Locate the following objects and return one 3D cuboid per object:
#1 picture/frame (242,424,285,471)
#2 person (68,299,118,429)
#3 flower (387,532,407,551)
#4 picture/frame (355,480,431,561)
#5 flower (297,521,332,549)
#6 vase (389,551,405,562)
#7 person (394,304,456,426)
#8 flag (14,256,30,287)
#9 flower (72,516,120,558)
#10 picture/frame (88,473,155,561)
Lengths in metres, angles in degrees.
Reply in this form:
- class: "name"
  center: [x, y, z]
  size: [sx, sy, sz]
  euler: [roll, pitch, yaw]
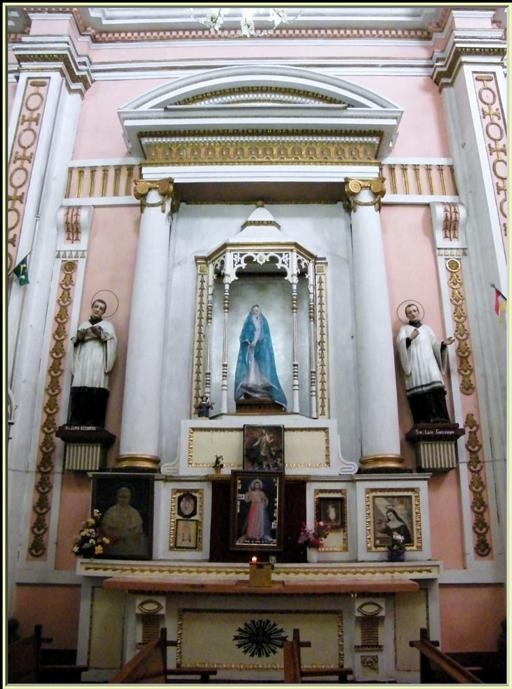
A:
- class: "picture/frame"
  center: [0.065, 0.829, 4.774]
  size: [0.373, 0.482, 0.033]
  euler: [-1, -36, -1]
- class: "person"
  center: [-1.496, 0.180, 5.488]
  size: [0.395, 1.231, 0.347]
  euler: [2, -18, -6]
- class: "flower"
  center: [1.036, 1.437, 4.451]
  size: [0.118, 0.124, 0.218]
  euler: [-1, 11, 6]
- class: "picture/frame"
  center: [1.045, 1.322, 4.559]
  size: [0.455, 0.555, 0.055]
  euler: [-2, 4, 8]
- class: "flower"
  center: [0.434, 1.408, 4.416]
  size: [0.192, 0.199, 0.199]
  euler: [2, -21, -6]
- class: "vase"
  center: [1.024, 1.532, 4.391]
  size: [0.088, 0.090, 0.086]
  euler: [-24, -41, 27]
- class: "person"
  center: [1.511, 0.171, 5.380]
  size: [0.469, 1.138, 0.337]
  euler: [-5, -19, 13]
- class: "flag"
  center: [-2.168, -0.686, 5.570]
  size: [0.107, 0.260, 0.212]
  euler: [-2, -19, 6]
- class: "flower"
  center: [-1.232, 1.440, 4.545]
  size: [0.225, 0.323, 0.176]
  euler: [-7, -20, 21]
- class: "picture/frame"
  center: [-1.026, 1.328, 4.629]
  size: [0.487, 0.695, 0.031]
  euler: [2, 5, -3]
